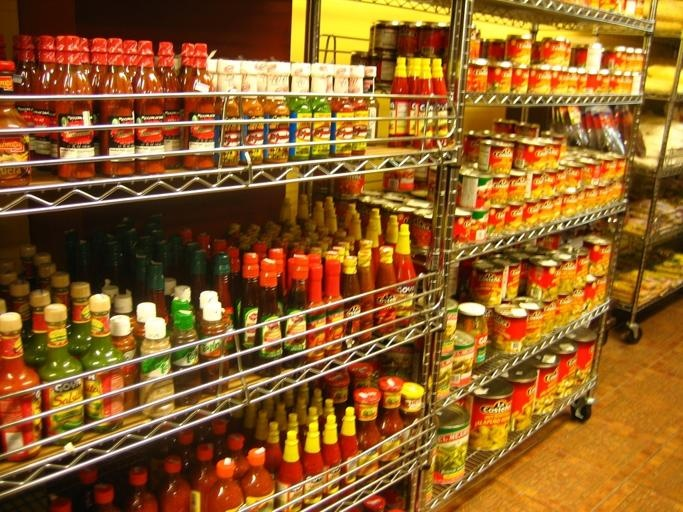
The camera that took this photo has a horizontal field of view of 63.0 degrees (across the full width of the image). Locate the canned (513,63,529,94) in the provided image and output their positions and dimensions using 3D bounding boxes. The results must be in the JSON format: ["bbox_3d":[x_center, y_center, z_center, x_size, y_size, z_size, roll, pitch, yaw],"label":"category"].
[{"bbox_3d":[0.691,-0.685,2.148,0.097,0.098,0.041,-13,25,-32],"label":"canned"}]

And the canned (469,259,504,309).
[{"bbox_3d":[0.615,0.115,2.369,0.138,0.177,0.125,6,21,15],"label":"canned"}]

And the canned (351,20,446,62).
[{"bbox_3d":[0.220,-0.730,1.945,0.187,0.099,0.176,-6,22,-19],"label":"canned"}]

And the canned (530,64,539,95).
[{"bbox_3d":[0.771,-0.709,2.227,0.046,0.094,0.045,8,22,20],"label":"canned"}]

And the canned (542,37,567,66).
[{"bbox_3d":[0.891,-0.861,2.350,0.124,0.107,0.119,0,19,7],"label":"canned"}]

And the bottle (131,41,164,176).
[{"bbox_3d":[-0.423,-0.322,1.213,0.070,0.271,0.185,-5,21,-13],"label":"bottle"}]

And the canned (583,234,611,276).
[{"bbox_3d":[1.265,-0.001,2.770,0.152,0.144,0.140,-12,26,-10],"label":"canned"}]

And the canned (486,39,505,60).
[{"bbox_3d":[0.620,-0.835,2.244,0.036,0.073,0.113,-13,24,-32],"label":"canned"}]

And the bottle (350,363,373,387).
[{"bbox_3d":[0.067,0.390,1.887,0.080,0.074,0.074,-3,25,-8],"label":"bottle"}]

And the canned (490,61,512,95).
[{"bbox_3d":[0.598,-0.668,2.073,0.092,0.104,0.038,-11,24,-28],"label":"canned"}]

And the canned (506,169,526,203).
[{"bbox_3d":[0.696,-0.281,2.229,0.111,0.118,0.049,-16,26,-37],"label":"canned"}]

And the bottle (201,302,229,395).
[{"bbox_3d":[-0.326,0.242,1.414,0.067,0.257,0.204,-5,21,-12],"label":"bottle"}]

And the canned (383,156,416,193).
[{"bbox_3d":[0.242,-0.333,2.305,0.126,0.118,0.113,-6,21,-19],"label":"canned"}]

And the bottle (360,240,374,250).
[{"bbox_3d":[0.079,-0.040,1.743,0.034,0.027,0.033,0,20,0],"label":"bottle"}]

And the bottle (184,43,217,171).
[{"bbox_3d":[-0.327,-0.339,1.268,0.082,0.271,0.155,-4,21,-12],"label":"bottle"}]

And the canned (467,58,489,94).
[{"bbox_3d":[0.477,-0.644,1.985,0.117,0.105,0.038,-19,28,-41],"label":"canned"}]

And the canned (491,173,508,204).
[{"bbox_3d":[0.613,-0.259,2.165,0.090,0.113,0.034,-14,25,-34],"label":"canned"}]

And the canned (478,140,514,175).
[{"bbox_3d":[0.594,-0.381,2.159,0.124,0.126,0.115,4,21,11],"label":"canned"}]

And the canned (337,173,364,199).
[{"bbox_3d":[0.043,-0.284,2.258,0.100,0.090,0.096,-3,14,-11],"label":"canned"}]

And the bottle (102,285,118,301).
[{"bbox_3d":[-0.582,0.087,1.416,0.041,0.034,0.038,5,20,-1],"label":"bottle"}]

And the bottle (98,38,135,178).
[{"bbox_3d":[-0.476,-0.311,1.174,0.080,0.275,0.139,-7,22,-18],"label":"bottle"}]

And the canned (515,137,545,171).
[{"bbox_3d":[0.760,-0.437,2.349,0.141,0.120,0.133,-10,26,-22],"label":"canned"}]
